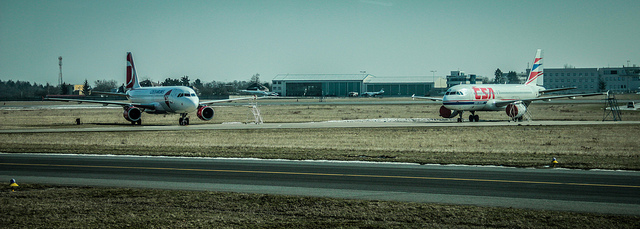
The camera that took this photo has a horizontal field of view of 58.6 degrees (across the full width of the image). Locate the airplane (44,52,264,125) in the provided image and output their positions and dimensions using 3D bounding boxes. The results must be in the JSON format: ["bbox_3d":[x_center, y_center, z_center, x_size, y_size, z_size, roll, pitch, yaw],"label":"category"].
[{"bbox_3d":[-41.148,-6.461,146.954,54.878,12.094,44.057,-4,6,-32],"label":"airplane"}]

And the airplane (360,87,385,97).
[{"bbox_3d":[26.187,-11.413,283.004,10.672,3.166,7.552,0,3,-6],"label":"airplane"}]
